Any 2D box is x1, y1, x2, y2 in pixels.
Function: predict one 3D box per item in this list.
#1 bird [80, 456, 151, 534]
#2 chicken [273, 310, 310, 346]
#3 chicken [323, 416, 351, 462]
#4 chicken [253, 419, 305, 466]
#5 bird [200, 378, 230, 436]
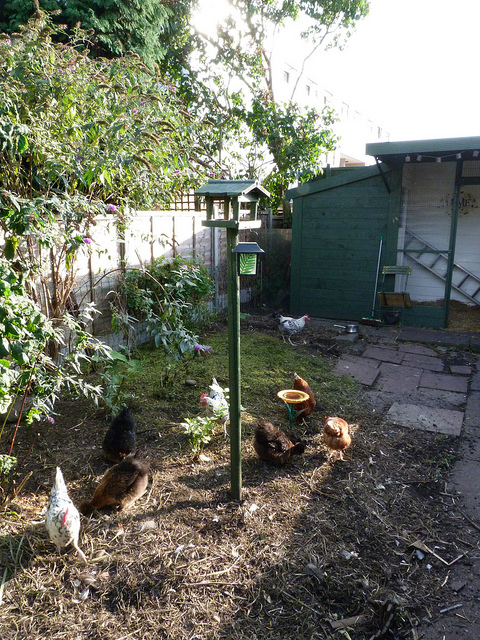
[{"bbox_3d":[-0.698,0.964,2.988,0.245,0.446,0.300,45,-8,8],"label":"bird"},{"bbox_3d":[0.669,0.119,6.990,0.570,0.482,0.271,5,6,-8],"label":"chicken"},{"bbox_3d":[0.700,0.814,3.724,0.176,0.206,0.204,3,11,13],"label":"chicken"},{"bbox_3d":[0.234,0.831,3.658,0.360,0.286,0.454,3,11,1],"label":"chicken"},{"bbox_3d":[-0.192,0.641,4.049,0.202,0.403,0.507,0,11,-4],"label":"bird"}]
